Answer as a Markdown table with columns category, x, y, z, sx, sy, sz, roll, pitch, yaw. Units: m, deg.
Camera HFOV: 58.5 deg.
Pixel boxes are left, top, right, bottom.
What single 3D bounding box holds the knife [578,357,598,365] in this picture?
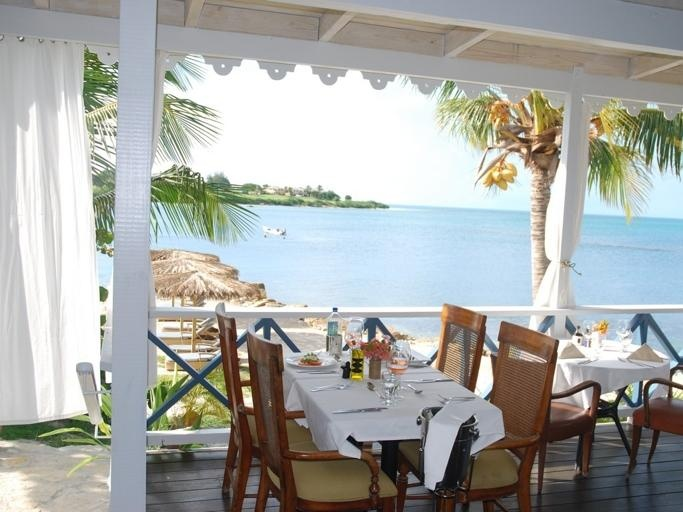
| category | x | y | z | sx | sy | sz | roll | pitch | yaw |
| --- | --- | --- | --- | --- | --- | --- | --- | --- | --- |
| knife | 1.783 | 0.755 | 4.426 | 0.058 | 0.016 | 0.225 | 1 | 4 | 17 |

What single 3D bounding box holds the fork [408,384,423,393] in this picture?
| category | x | y | z | sx | sy | sz | roll | pitch | yaw |
| --- | --- | --- | --- | --- | --- | --- | --- | --- | --- |
| fork | 0.422 | 0.756 | 3.495 | 0.025 | 0.028 | 0.150 | -4 | 9 | -10 |

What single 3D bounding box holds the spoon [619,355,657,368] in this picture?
| category | x | y | z | sx | sy | sz | roll | pitch | yaw |
| --- | --- | --- | --- | --- | --- | --- | --- | --- | --- |
| spoon | 2.143 | 0.767 | 4.410 | 0.271 | 0.084 | 0.028 | 14 | 45 | 4 |

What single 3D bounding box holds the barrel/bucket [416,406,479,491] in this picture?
| category | x | y | z | sx | sy | sz | roll | pitch | yaw |
| --- | --- | --- | --- | --- | --- | --- | --- | --- | --- |
| barrel/bucket | 0.454 | 0.873 | 2.771 | 0.212 | 0.373 | 0.252 | -3 | 3 | -38 |
